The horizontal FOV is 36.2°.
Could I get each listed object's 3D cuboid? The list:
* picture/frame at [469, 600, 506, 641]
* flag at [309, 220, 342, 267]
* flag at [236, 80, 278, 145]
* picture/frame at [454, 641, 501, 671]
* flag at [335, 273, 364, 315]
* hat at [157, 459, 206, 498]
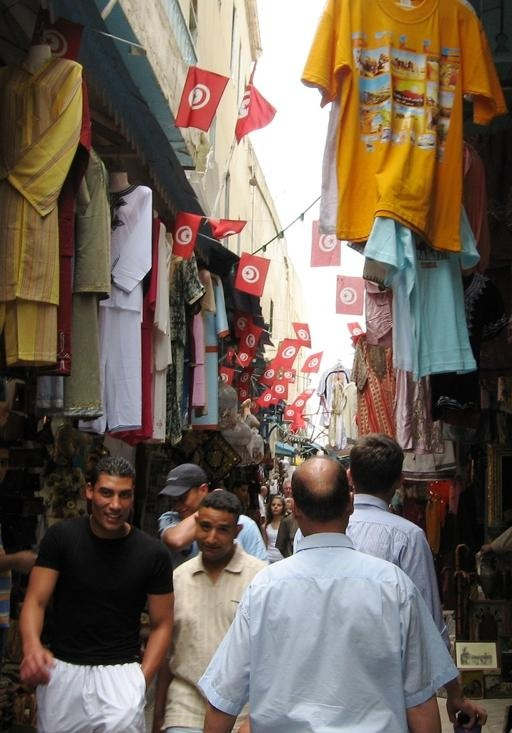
[{"bbox_3d":[1.888,2.060,6.324,0.262,0.356,0.100,1,-23,3],"label":"picture/frame"},{"bbox_3d":[0.652,-1.155,7.196,0.330,0.501,0.293,-2,-10,22],"label":"flag"},{"bbox_3d":[-0.052,-2.344,7.163,0.422,0.650,0.307,-6,-12,37],"label":"flag"},{"bbox_3d":[1.525,1.985,5.373,0.327,0.253,0.207,1,-4,2],"label":"picture/frame"},{"bbox_3d":[1.115,-0.820,9.235,0.313,0.503,0.317,1,-10,4],"label":"flag"},{"bbox_3d":[-0.359,0.566,3.952,0.139,0.114,0.206,-4,1,40],"label":"hat"}]
